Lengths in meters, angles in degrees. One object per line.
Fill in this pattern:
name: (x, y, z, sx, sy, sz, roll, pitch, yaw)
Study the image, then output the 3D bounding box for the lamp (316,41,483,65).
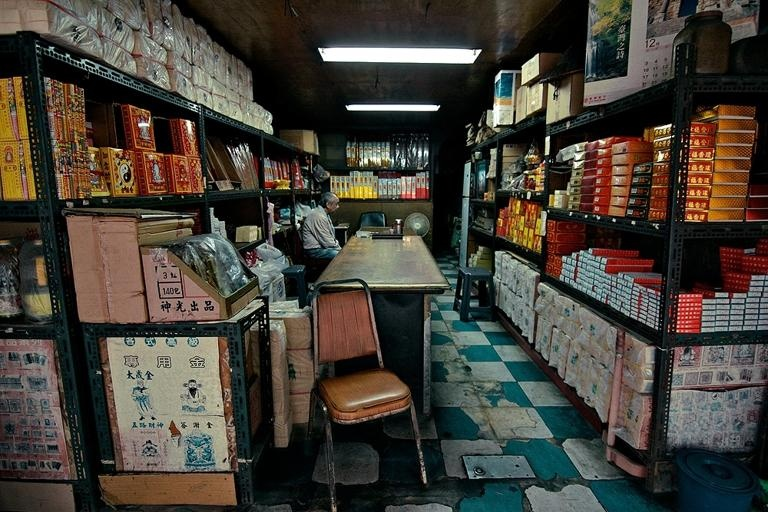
lamp: (0.151, -2.019, 5.506, 1.570, 0.185, 0.449, -5, 8, 0)

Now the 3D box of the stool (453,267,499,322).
stool: (0.977, 0.409, 6.083, 0.535, 0.526, 0.548, -2, 13, -4)

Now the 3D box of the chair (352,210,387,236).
chair: (-0.218, -0.544, 8.987, 0.428, 0.602, 0.430, 1, 4, 2)

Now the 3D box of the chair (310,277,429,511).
chair: (-0.123, 0.853, 3.661, 0.691, 1.393, 0.601, -7, 8, -9)

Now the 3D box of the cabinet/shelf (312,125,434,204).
cabinet/shelf: (-0.129, -1.489, 9.243, 1.833, 1.214, 0.363, -5, 8, -2)
